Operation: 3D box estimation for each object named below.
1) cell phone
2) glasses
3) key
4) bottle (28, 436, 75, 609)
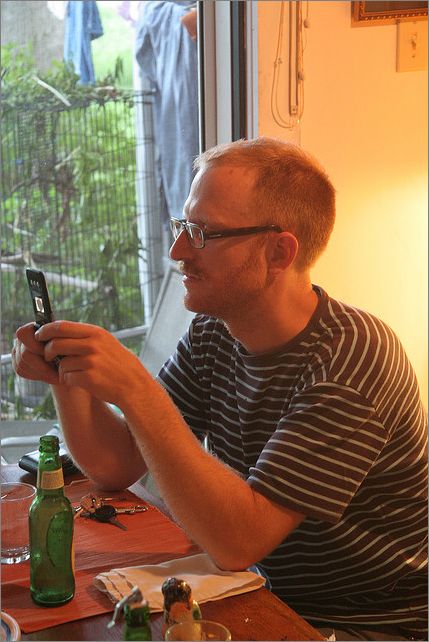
[{"bbox_3d":[-0.306,-0.034,1.111,0.047,0.114,0.186,2,5,-14],"label":"cell phone"},{"bbox_3d":[0.027,-0.198,1.278,0.231,0.071,0.221,3,12,-1],"label":"glasses"},{"bbox_3d":[-0.193,0.331,1.104,0.115,0.035,0.111,-3,5,-32],"label":"key"},{"bbox_3d":[-0.205,0.254,0.835,0.059,0.217,0.076,-4,6,-15],"label":"bottle"}]
